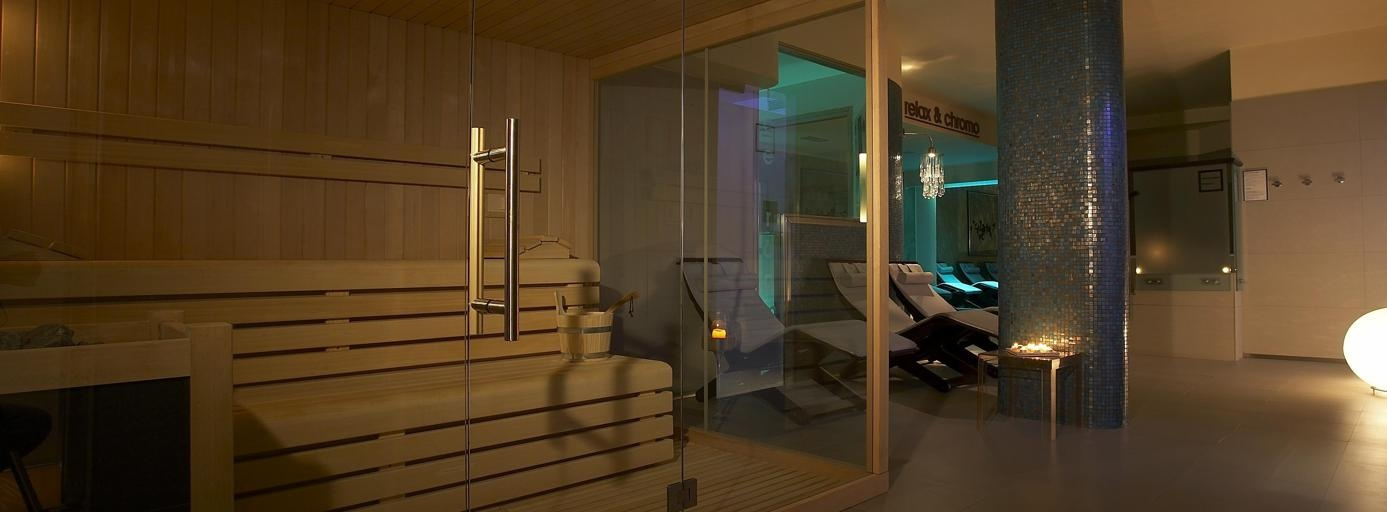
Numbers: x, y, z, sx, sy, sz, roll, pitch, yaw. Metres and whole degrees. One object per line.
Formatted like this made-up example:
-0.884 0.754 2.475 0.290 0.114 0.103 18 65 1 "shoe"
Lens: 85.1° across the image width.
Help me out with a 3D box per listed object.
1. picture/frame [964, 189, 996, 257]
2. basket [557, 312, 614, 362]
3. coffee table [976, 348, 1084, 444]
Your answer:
6.456 -0.770 17.207 2.049 1.667 0.090 -1 1 -42 "picture/frame"
-0.972 0.724 6.897 0.530 0.317 0.518 0 -2 -27 "basket"
4.274 1.611 9.101 0.813 0.707 0.906 7 -8 -11 "coffee table"
